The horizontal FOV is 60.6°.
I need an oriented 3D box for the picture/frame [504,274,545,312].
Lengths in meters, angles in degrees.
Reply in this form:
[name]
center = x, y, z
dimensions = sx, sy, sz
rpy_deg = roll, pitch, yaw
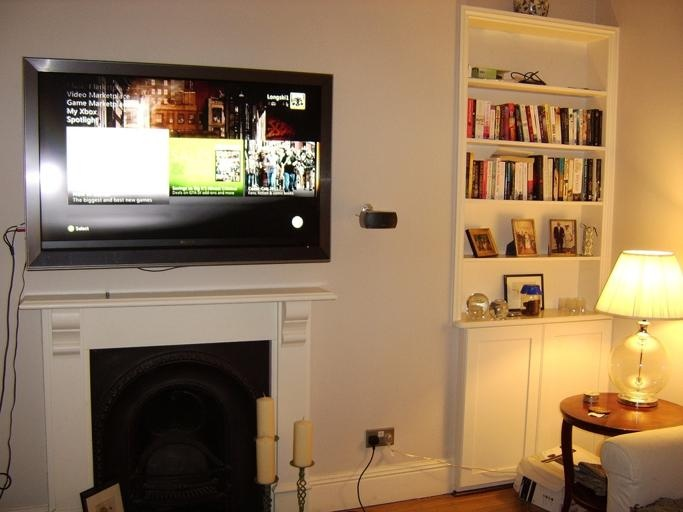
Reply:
[picture/frame]
center = 1.246, 0.257, 4.031
dimensions = 0.234, 0.219, 0.023
rpy_deg = 2, -11, -16
